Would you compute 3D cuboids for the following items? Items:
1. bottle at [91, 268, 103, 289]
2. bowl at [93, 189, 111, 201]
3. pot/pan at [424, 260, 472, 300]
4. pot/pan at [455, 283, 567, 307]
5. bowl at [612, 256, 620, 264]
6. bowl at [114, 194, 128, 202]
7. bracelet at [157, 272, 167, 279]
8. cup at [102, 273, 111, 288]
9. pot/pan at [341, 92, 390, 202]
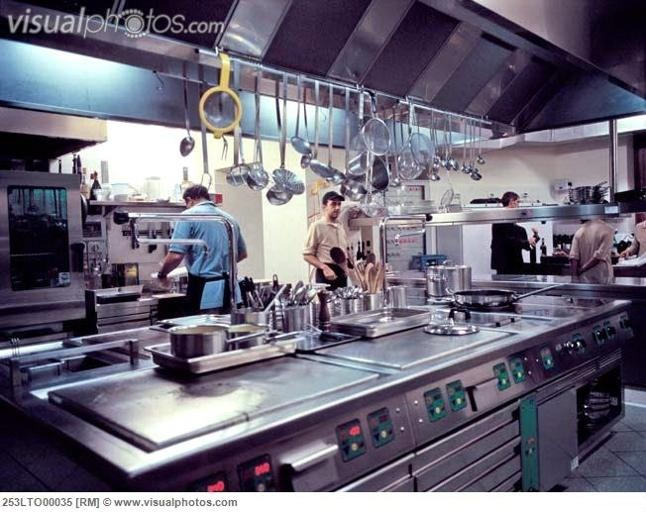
[{"bbox_3d":[-2.110,0.197,4.463,0.103,0.172,0.176,-4,9,-25],"label":"bottle"},{"bbox_3d":[-2.034,-0.560,4.403,0.123,0.125,0.129,0,-1,0],"label":"bowl"},{"bbox_3d":[0.783,0.151,3.016,0.230,0.178,0.235,-4,6,-22],"label":"pot/pan"},{"bbox_3d":[1.018,0.237,2.726,0.510,0.078,0.253,-3,-2,-16],"label":"pot/pan"},{"bbox_3d":[4.123,0.054,6.764,0.095,0.068,0.054,1,5,19],"label":"bowl"},{"bbox_3d":[-1.858,-0.537,4.383,0.125,0.057,0.031,0,8,0],"label":"bowl"},{"bbox_3d":[-1.215,0.143,3.606,0.055,0.057,0.077,3,-3,7],"label":"bracelet"},{"bbox_3d":[-2.020,0.222,4.484,0.073,0.116,0.153,-1,8,-10],"label":"cup"},{"bbox_3d":[0.244,-0.598,2.712,0.201,0.587,0.276,8,5,30],"label":"pot/pan"}]
